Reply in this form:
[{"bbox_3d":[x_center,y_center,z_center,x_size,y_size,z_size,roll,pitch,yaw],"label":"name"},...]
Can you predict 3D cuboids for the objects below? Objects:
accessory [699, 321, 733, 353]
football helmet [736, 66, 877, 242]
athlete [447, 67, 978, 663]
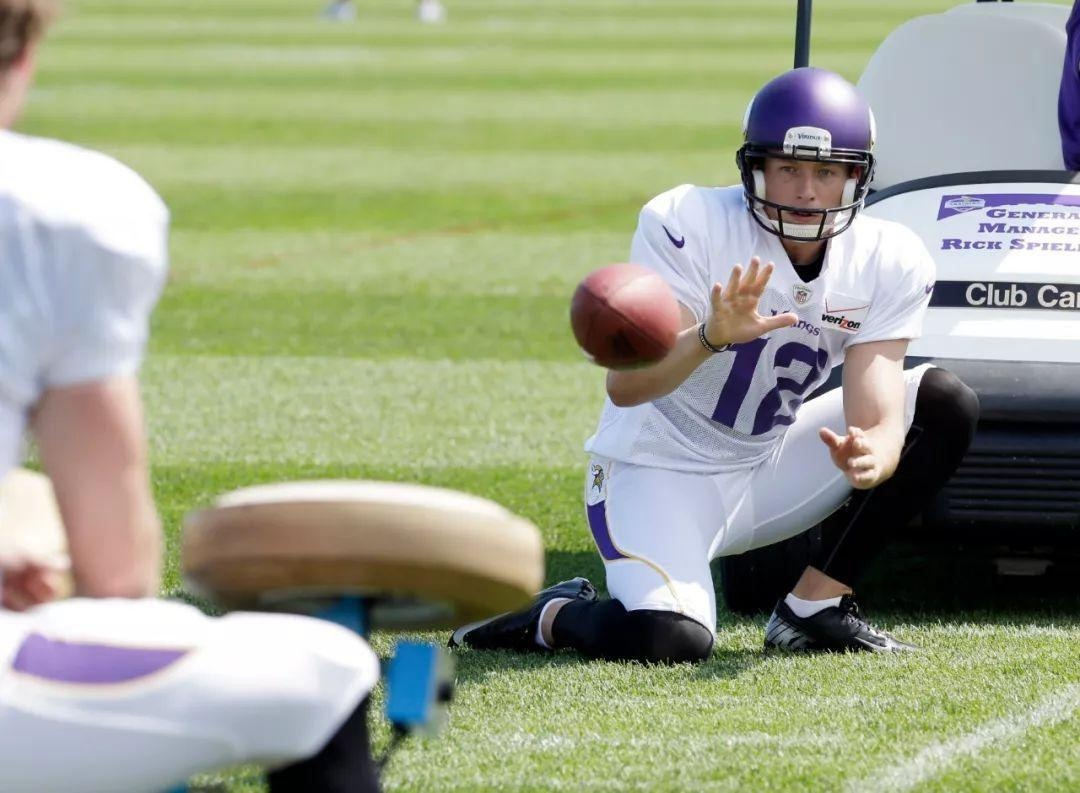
[{"bbox_3d":[0.331,-0.116,3.136,0.060,0.064,0.063,0,12,2],"label":"accessory"},{"bbox_3d":[0.545,-0.500,3.359,0.278,0.346,0.253,1,12,5],"label":"football helmet"},{"bbox_3d":[0.457,-0.019,3.521,0.914,1.384,1.477,4,25,-4],"label":"athlete"}]
